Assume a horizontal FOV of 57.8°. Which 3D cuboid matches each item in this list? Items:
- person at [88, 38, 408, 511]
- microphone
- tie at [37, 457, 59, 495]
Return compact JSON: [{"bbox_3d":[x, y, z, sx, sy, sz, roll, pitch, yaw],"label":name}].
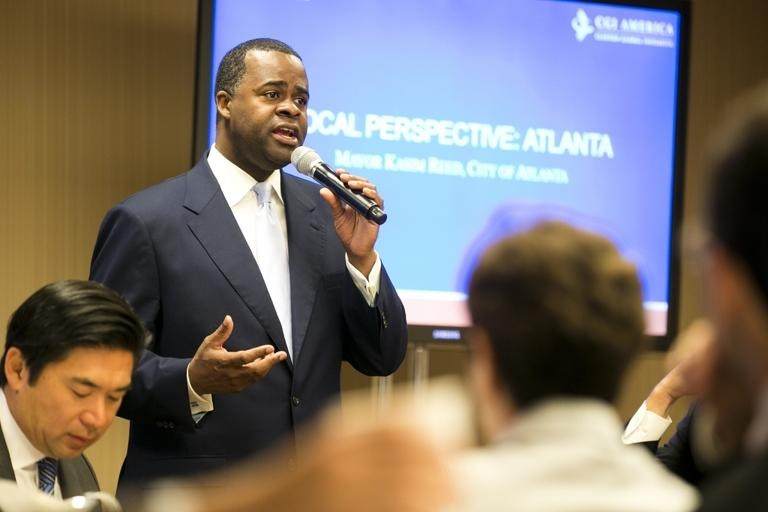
[{"bbox_3d":[-0.416,-0.014,2.086,0.688,1.311,0.783,12,11,40],"label":"person"},{"bbox_3d":[-0.133,-0.214,2.103,0.143,0.201,0.393,-3,12,-40],"label":"microphone"},{"bbox_3d":[-0.824,0.533,1.673,0.043,0.030,0.079,37,7,-36],"label":"tie"}]
